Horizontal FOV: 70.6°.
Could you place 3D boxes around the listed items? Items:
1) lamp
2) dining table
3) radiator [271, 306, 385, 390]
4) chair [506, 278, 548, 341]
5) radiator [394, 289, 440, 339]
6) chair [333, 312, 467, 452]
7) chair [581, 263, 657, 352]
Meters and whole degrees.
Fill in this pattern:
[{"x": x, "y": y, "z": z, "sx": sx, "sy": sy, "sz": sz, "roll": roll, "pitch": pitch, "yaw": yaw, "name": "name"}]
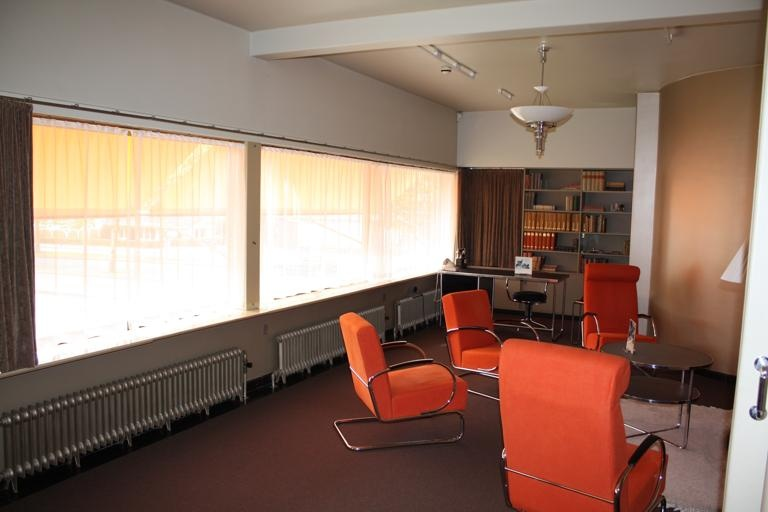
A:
[{"x": 1.857, "y": -1.877, "z": 6.377, "sx": 0.731, "sy": 1.368, "sz": 0.776, "roll": 7, "pitch": -7, "yaw": -33, "name": "lamp"}, {"x": 3.037, "y": 1.386, "z": 6.042, "sx": 1.180, "sy": 1.008, "sz": 1.186, "roll": -2, "pitch": 2, "yaw": -16, "name": "dining table"}, {"x": -0.731, "y": 1.199, "z": 7.485, "sx": 1.774, "sy": 0.701, "sz": 0.173, "roll": -13, "pitch": 24, "yaw": -36, "name": "radiator"}, {"x": 2.527, "y": 0.799, "z": 9.296, "sx": 0.810, "sy": 1.053, "sz": 0.802, "roll": 5, "pitch": -5, "yaw": 15, "name": "chair"}, {"x": 0.636, "y": 0.950, "z": 9.511, "sx": 0.153, "sy": 0.595, "sz": 1.316, "roll": 2, "pitch": 8, "yaw": 42, "name": "radiator"}, {"x": 0.195, "y": 1.305, "z": 5.894, "sx": 1.435, "sy": 1.255, "sz": 1.268, "roll": -4, "pitch": 4, "yaw": -41, "name": "chair"}, {"x": 3.103, "y": 0.701, "z": 7.141, "sx": 0.792, "sy": 1.175, "sz": 0.930, "roll": 0, "pitch": 0, "yaw": 0, "name": "chair"}]
